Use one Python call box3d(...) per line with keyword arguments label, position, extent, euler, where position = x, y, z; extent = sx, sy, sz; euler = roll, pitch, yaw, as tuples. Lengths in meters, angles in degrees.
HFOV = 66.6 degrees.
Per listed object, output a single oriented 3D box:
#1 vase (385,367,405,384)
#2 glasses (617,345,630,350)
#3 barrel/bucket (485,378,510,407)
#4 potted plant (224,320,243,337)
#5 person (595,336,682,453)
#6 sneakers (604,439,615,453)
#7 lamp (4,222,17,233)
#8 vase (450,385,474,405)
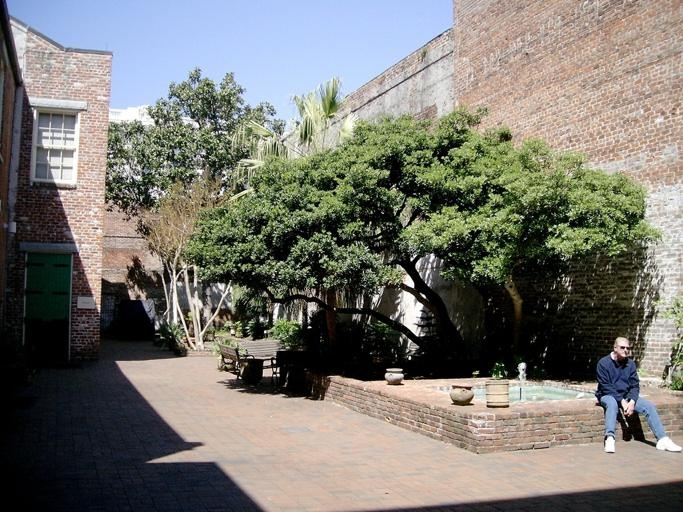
box3d(label="vase", position=(1.113, 2.538, 10.944), extent=(0.359, 0.329, 0.420), euler=(2, -2, 3))
box3d(label="glasses", position=(4.585, 1.477, 8.404), extent=(0.196, 0.087, 0.061), euler=(3, -2, -26))
box3d(label="barrel/bucket", position=(2.549, 2.222, 8.561), extent=(0.409, 0.447, 0.432), euler=(0, -5, 0))
box3d(label="potted plant", position=(-5.476, 3.815, 26.507), extent=(0.847, 0.659, 0.872), euler=(1, 7, -14))
box3d(label="person", position=(4.603, 2.166, 8.303), extent=(0.946, 1.685, 1.004), euler=(2, -2, 13))
box3d(label="sneakers", position=(4.055, 2.853, 7.845), extent=(0.138, 0.212, 0.161), euler=(2, -2, 9))
box3d(label="lamp", position=(-9.691, -0.856, 15.244), extent=(0.362, 0.378, 0.218), euler=(3, -3, -22))
box3d(label="vase", position=(2.028, 2.311, 8.717), extent=(0.324, 0.249, 0.344), euler=(2, -1, -23))
